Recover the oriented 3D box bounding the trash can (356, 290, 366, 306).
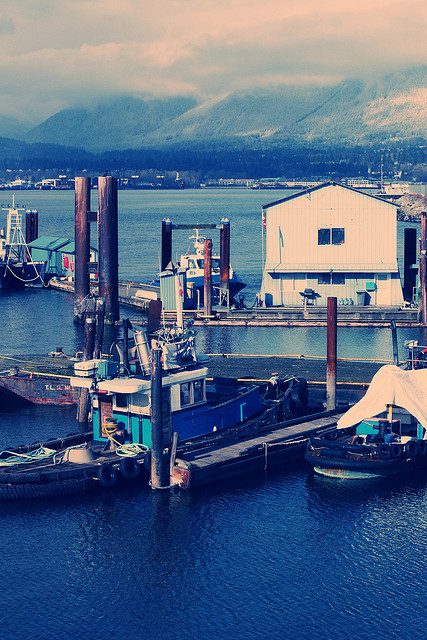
[{"bbox_3d":[6.491,-0.964,59.621,0.465,0.907,0.531,2,10,10],"label":"trash can"}]

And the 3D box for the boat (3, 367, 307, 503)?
[{"bbox_3d":[-1.276,2.765,33.931,2.837,2.248,8.778,6,11,44],"label":"boat"}]

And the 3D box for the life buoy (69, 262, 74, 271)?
[{"bbox_3d":[-7.825,-2.954,75.707,0.085,0.404,0.334,2,-1,-35],"label":"life buoy"}]
